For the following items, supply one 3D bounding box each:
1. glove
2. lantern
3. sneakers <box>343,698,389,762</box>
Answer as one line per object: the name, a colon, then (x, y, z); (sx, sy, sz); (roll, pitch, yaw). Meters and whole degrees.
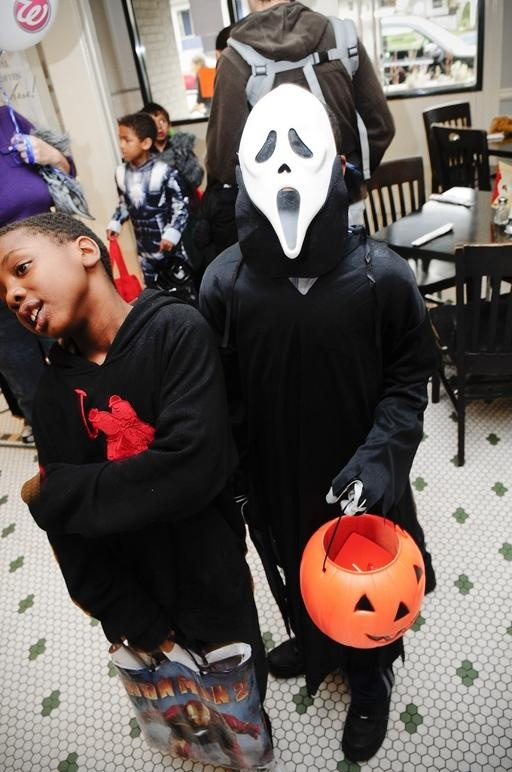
glove: (0.229, 0.072, 0.969); (0.105, 0.132, 0.321); (12, 61, 17)
lantern: (0.179, 0.303, 0.938); (0.176, 0.238, 0.182); (2, 23, 36)
sneakers: (0.258, 0.786, 1.357); (0.067, 0.081, 0.204); (7, 70, 29)
